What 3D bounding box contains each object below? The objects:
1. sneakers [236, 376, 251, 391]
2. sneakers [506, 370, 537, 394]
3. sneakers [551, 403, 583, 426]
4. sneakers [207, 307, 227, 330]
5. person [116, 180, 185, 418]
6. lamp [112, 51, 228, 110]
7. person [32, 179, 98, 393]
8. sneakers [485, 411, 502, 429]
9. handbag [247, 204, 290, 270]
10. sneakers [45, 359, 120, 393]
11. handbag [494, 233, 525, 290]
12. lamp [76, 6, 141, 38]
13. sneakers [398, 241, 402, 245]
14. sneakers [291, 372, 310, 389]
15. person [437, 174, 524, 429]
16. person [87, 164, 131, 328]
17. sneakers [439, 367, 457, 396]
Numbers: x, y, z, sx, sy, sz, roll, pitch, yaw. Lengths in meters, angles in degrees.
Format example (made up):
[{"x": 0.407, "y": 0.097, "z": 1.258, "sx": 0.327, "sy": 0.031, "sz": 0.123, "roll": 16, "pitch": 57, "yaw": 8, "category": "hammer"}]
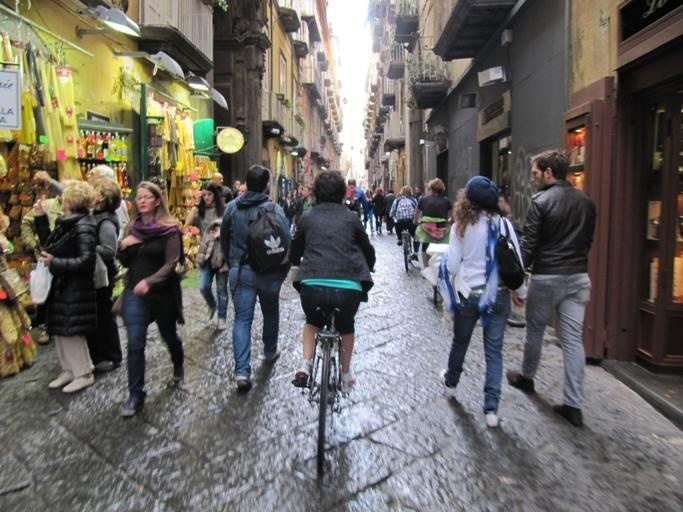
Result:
[{"x": -0.958, "y": 1.252, "z": 4.715, "sx": 0.139, "sy": 0.151, "sz": 0.124, "roll": -2, "pitch": 8, "yaw": -11, "category": "sneakers"}, {"x": 1.841, "y": 1.266, "z": 4.881, "sx": 0.119, "sy": 0.211, "sz": 0.296, "roll": -14, "pitch": 35, "yaw": -16, "category": "sneakers"}, {"x": 2.048, "y": 1.380, "z": 4.263, "sx": 0.130, "sy": 0.131, "sz": 0.297, "roll": -3, "pitch": 10, "yaw": -20, "category": "sneakers"}, {"x": -1.774, "y": 0.950, "z": 6.915, "sx": 0.152, "sy": 0.265, "sz": 0.550, "roll": -6, "pitch": -8, "yaw": -17, "category": "sneakers"}, {"x": -1.857, "y": 0.332, "z": 4.613, "sx": 0.564, "sy": 2.042, "sz": 0.748, "roll": 6, "pitch": 9, "yaw": 39, "category": "person"}, {"x": -3.646, "y": -4.039, "z": 10.940, "sx": 1.242, "sy": 0.872, "sz": 3.757, "roll": 1, "pitch": 10, "yaw": 4, "category": "lamp"}, {"x": -2.765, "y": 0.278, "z": 4.906, "sx": 0.599, "sy": 2.049, "sz": 0.571, "roll": 5, "pitch": 9, "yaw": 35, "category": "person"}, {"x": 1.317, "y": 1.403, "z": 4.126, "sx": 0.114, "sy": 0.102, "sz": 0.124, "roll": 3, "pitch": 9, "yaw": 20, "category": "sneakers"}, {"x": -0.757, "y": -0.176, "z": 4.949, "sx": 0.457, "sy": 0.754, "sz": 0.352, "roll": 0, "pitch": -5, "yaw": -41, "category": "handbag"}, {"x": -2.630, "y": 1.265, "z": 5.013, "sx": 0.174, "sy": 0.310, "sz": 0.599, "roll": -7, "pitch": -10, "yaw": 35, "category": "sneakers"}, {"x": 1.559, "y": 0.028, "z": 4.284, "sx": 0.180, "sy": 0.481, "sz": 0.408, "roll": -12, "pitch": 14, "yaw": 35, "category": "handbag"}, {"x": -3.863, "y": -3.756, "z": 7.852, "sx": 0.649, "sy": 0.460, "sz": 1.450, "roll": -7, "pitch": 12, "yaw": -39, "category": "lamp"}, {"x": 1.589, "y": -0.328, "z": 12.945, "sx": 0.099, "sy": 0.116, "sz": 0.192, "roll": 3, "pitch": 13, "yaw": 10, "category": "sneakers"}, {"x": -0.313, "y": 0.972, "z": 3.792, "sx": 0.090, "sy": 0.131, "sz": 0.129, "roll": 6, "pitch": 8, "yaw": -19, "category": "sneakers"}, {"x": 1.285, "y": 0.344, "z": 4.405, "sx": 0.581, "sy": 2.093, "sz": 0.752, "roll": -7, "pitch": 10, "yaw": -42, "category": "person"}, {"x": -2.843, "y": -0.149, "z": 5.592, "sx": 0.431, "sy": 1.443, "sz": 0.484, "roll": 12, "pitch": 39, "yaw": -20, "category": "person"}, {"x": 1.050, "y": 1.226, "z": 4.724, "sx": 0.085, "sy": 0.109, "sz": 0.280, "roll": 6, "pitch": 44, "yaw": -21, "category": "sneakers"}]
